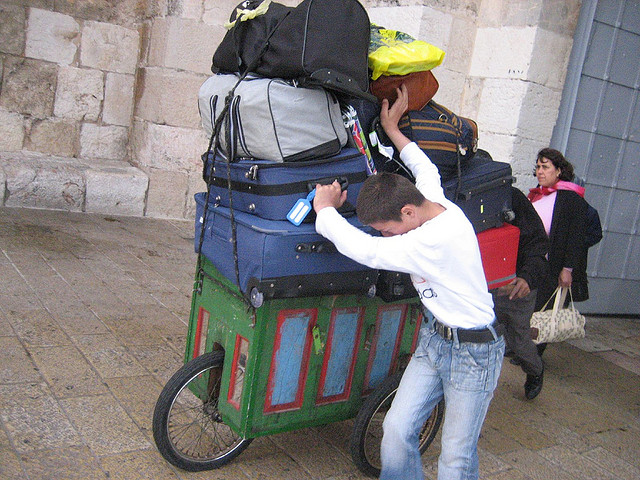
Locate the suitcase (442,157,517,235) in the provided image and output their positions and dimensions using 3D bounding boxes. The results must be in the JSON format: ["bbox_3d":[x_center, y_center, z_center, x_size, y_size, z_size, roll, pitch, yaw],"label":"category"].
[{"bbox_3d":[0.980,-0.278,3.863,0.579,0.392,0.397,-13,21,-36],"label":"suitcase"}]

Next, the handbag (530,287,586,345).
[{"bbox_3d":[2.040,0.613,5.032,0.496,0.459,0.210,-4,12,-12],"label":"handbag"}]

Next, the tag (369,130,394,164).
[{"bbox_3d":[0.351,-0.555,3.469,0.121,0.164,0.050,-4,-26,-38],"label":"tag"}]

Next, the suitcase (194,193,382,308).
[{"bbox_3d":[-0.238,-0.011,3.677,0.859,0.436,1.209,-5,15,-35],"label":"suitcase"}]

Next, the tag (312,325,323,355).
[{"bbox_3d":[-0.020,0.574,3.370,0.069,0.180,0.022,1,10,-41],"label":"tag"}]

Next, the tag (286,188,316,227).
[{"bbox_3d":[-0.111,-0.186,3.155,0.087,0.227,0.017,38,-6,-13],"label":"tag"}]

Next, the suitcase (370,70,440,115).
[{"bbox_3d":[0.511,-0.891,3.506,0.457,0.273,0.158,1,10,-39],"label":"suitcase"}]

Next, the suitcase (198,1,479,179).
[{"bbox_3d":[0.052,-0.799,3.482,1.305,0.701,0.938,-2,12,-39],"label":"suitcase"}]

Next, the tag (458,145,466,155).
[{"bbox_3d":[0.874,-0.556,3.618,0.012,0.054,0.033,-13,18,45],"label":"tag"}]

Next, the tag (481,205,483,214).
[{"bbox_3d":[1.023,-0.194,3.717,0.003,0.056,0.026,14,10,42],"label":"tag"}]

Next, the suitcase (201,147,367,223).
[{"bbox_3d":[-0.268,-0.342,3.280,0.530,0.233,0.628,-9,21,-44],"label":"suitcase"}]

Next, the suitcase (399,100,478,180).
[{"bbox_3d":[0.714,-0.524,3.739,0.555,0.557,0.420,-7,-5,-1],"label":"suitcase"}]

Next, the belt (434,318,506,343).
[{"bbox_3d":[0.825,0.491,3.178,0.401,0.110,0.175,6,8,-14],"label":"belt"}]
